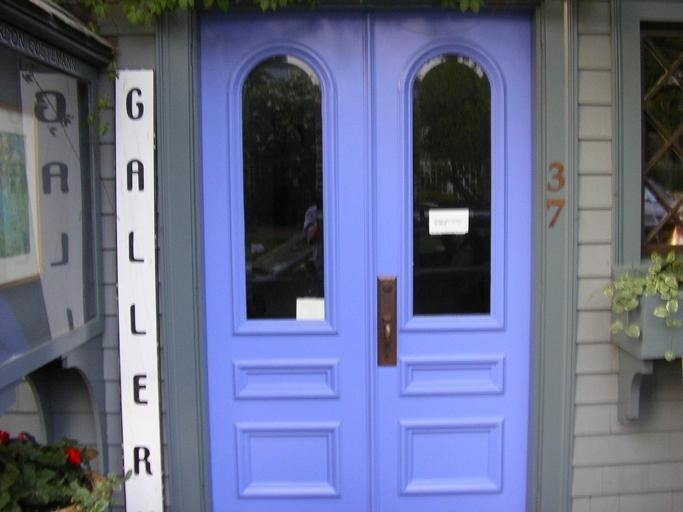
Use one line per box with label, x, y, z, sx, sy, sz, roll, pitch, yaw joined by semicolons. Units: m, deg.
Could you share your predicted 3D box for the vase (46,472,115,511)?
vase;-1.416;1.303;4.939;0.190;0.202;0.351;-2;1;24
